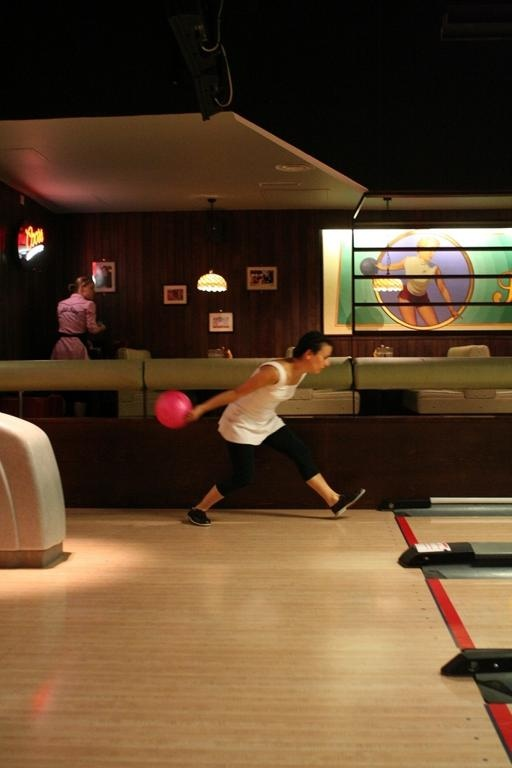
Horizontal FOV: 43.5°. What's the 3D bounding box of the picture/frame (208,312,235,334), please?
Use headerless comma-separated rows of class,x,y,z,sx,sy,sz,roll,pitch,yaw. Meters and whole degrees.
picture/frame,-0.479,-0.857,8.873,0.306,0.257,0.030,0,-1,0

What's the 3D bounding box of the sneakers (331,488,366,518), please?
sneakers,0.567,0.730,3.953,0.194,0.082,0.072,-42,3,2

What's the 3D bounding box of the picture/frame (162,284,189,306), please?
picture/frame,-1.116,-1.237,8.885,0.301,0.252,0.031,0,-1,0

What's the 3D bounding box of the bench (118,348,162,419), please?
bench,-0.800,0.013,4.350,0.329,0.588,0.601,1,1,-1

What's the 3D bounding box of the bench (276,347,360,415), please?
bench,0.451,-0.005,4.407,0.422,0.307,0.421,1,0,3

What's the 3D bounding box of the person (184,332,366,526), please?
person,0.145,0.261,3.806,1.068,1.183,0.659,5,11,7
